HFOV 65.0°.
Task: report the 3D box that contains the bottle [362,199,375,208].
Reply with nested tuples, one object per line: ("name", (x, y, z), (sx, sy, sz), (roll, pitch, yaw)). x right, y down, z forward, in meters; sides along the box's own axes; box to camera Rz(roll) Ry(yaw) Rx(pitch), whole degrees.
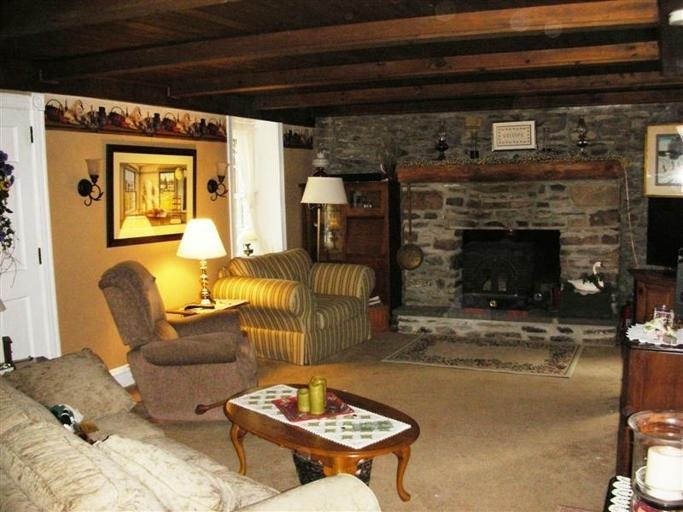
("bottle", (0.348, -0.685, 7.140), (0.168, 0.119, 0.142), (1, 10, 16))

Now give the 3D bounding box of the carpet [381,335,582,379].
("carpet", (1.594, 1.058, 5.848), (1.864, 0.035, 1.220), (2, 9, 20))

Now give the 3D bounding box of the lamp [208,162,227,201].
("lamp", (-1.415, -0.856, 6.252), (0.131, 0.429, 0.377), (2, 11, 20))

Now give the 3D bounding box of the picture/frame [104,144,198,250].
("picture/frame", (-1.937, -0.570, 5.331), (0.065, 0.903, 1.336), (4, 6, 29))

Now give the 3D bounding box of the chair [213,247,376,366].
("chair", (-0.487, 0.512, 6.132), (1.297, 0.821, 1.575), (7, 12, 26))

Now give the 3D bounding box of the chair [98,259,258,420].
("chair", (-1.337, 0.665, 4.548), (1.372, 0.940, 0.924), (8, 10, -5))

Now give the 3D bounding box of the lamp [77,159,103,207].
("lamp", (-2.222, -0.648, 4.801), (0.133, 0.419, 0.255), (4, 13, 27))

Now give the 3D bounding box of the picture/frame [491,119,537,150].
("picture/frame", (2.154, -1.484, 6.613), (0.534, 0.282, 0.067), (2, 6, 24))

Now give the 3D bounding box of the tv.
("tv", (2.152, 0.188, 6.889), (1.216, 1.044, 0.307), (3, 13, 26))
